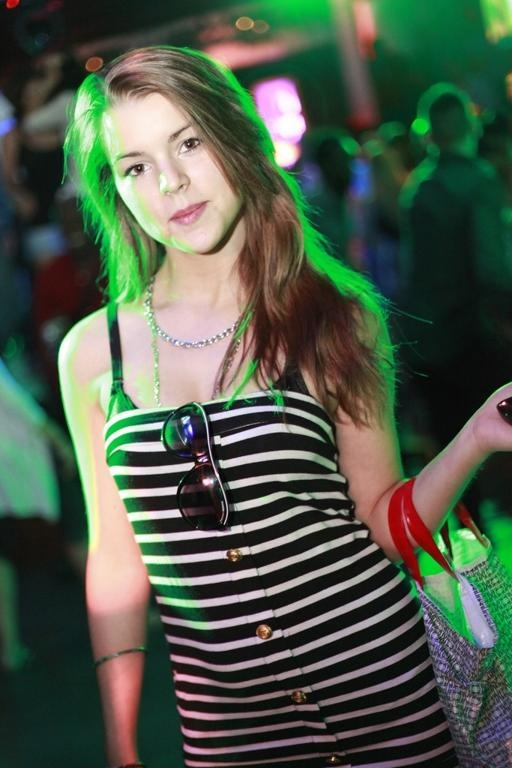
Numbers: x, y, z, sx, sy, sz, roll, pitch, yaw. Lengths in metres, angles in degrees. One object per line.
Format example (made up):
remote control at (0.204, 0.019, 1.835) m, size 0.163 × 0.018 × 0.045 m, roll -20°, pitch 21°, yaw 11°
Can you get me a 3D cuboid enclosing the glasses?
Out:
glasses at (-0.133, 0.182, 1.581) m, size 0.117 × 0.238 × 0.171 m, roll -20°, pitch 22°, yaw 0°
